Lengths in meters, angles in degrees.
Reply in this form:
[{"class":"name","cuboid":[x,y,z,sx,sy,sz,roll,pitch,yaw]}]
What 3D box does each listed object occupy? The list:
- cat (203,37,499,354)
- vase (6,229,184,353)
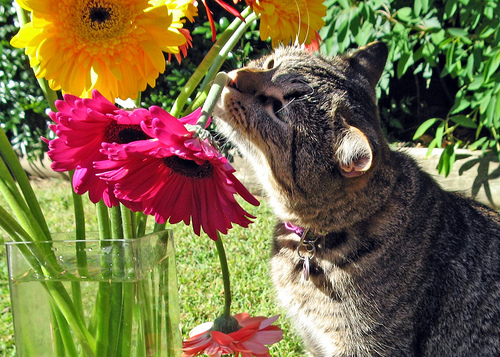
[{"class":"cat","cuboid":[0.582,0.112,3.089,1.216,1.915,0.890,-20,-16,11]},{"class":"vase","cuboid":[-0.610,0.406,2.328,0.567,0.678,0.458,-1,0,-3]}]
